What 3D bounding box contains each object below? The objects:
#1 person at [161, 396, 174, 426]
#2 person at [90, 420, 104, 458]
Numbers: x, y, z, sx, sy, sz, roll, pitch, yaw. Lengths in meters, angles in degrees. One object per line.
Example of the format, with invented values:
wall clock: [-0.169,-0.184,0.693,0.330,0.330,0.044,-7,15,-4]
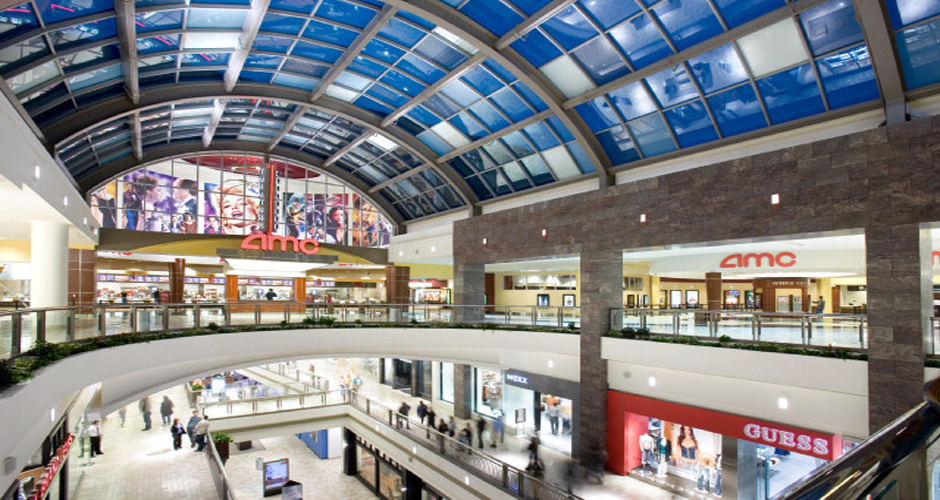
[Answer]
person: [-21.367,11.337,37.507,0.679,1.963,1.254,-1,-5,-29]
person: [-22.993,11.566,32.784,0.700,2.038,1.087,0,-5,-32]
